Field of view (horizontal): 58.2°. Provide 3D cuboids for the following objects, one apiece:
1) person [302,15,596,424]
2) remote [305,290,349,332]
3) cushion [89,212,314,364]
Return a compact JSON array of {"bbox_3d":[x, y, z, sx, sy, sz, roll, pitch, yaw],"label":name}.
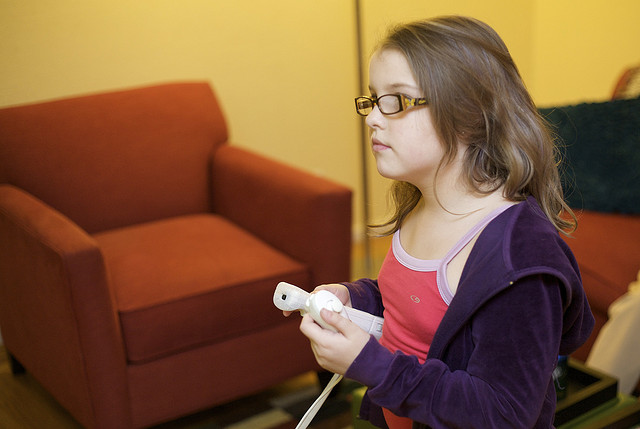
[{"bbox_3d":[0.367,0.110,1.943,0.821,1.512,1.023,1,3,-3],"label":"person"},{"bbox_3d":[0.013,0.223,1.338,0.060,0.104,0.037,-52,9,-14],"label":"remote"},{"bbox_3d":[-0.428,0.220,1.929,0.559,0.231,0.520,-13,37,-33],"label":"cushion"}]
